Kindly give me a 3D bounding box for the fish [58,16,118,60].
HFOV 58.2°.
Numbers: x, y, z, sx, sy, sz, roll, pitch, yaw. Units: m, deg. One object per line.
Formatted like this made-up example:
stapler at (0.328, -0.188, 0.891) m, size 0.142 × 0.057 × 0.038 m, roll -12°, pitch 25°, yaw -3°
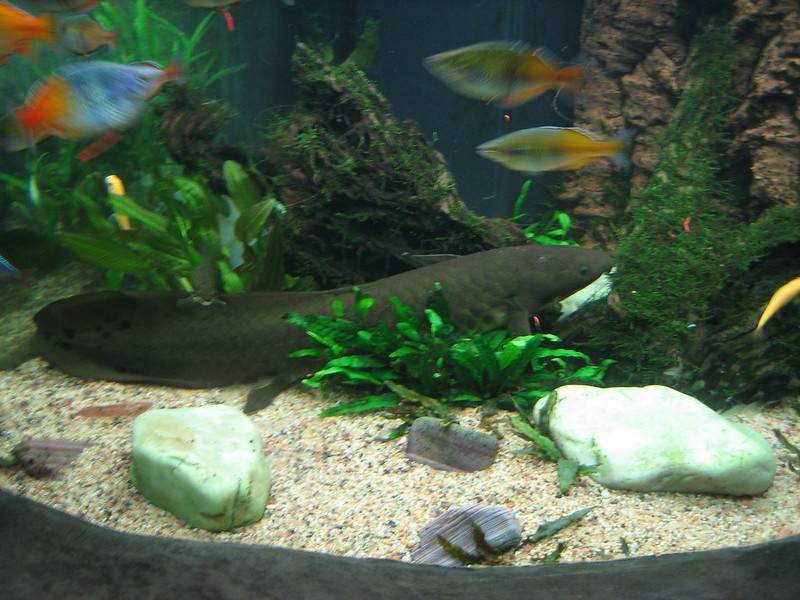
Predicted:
fish at (-1.940, -1.606, 4.387) m, size 0.130 × 0.212 × 0.558 m, roll 26°, pitch 25°, yaw 21°
